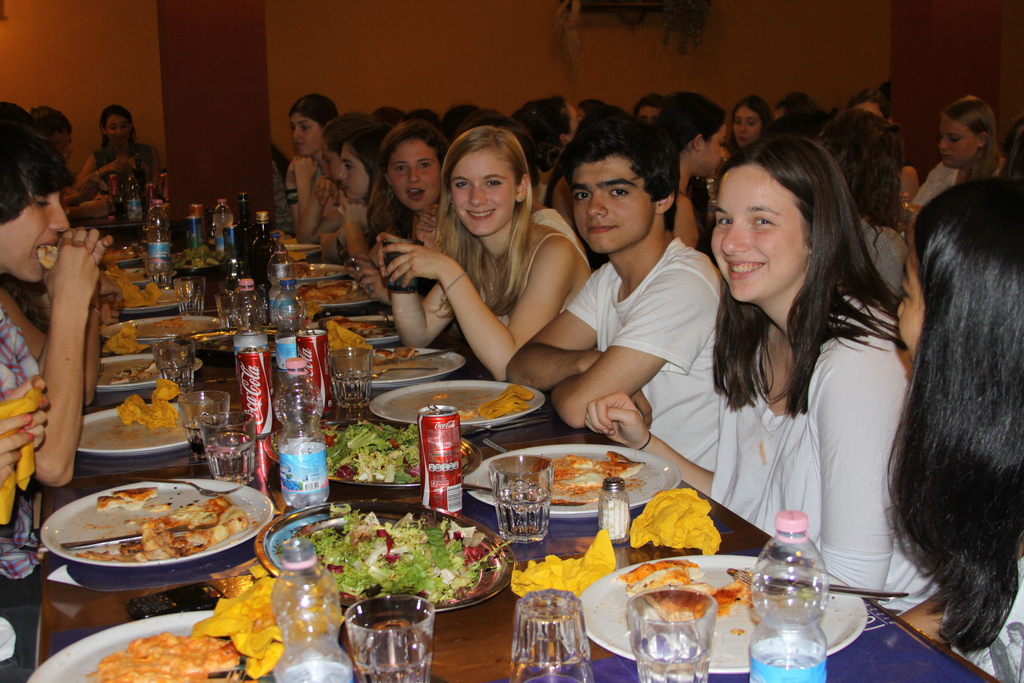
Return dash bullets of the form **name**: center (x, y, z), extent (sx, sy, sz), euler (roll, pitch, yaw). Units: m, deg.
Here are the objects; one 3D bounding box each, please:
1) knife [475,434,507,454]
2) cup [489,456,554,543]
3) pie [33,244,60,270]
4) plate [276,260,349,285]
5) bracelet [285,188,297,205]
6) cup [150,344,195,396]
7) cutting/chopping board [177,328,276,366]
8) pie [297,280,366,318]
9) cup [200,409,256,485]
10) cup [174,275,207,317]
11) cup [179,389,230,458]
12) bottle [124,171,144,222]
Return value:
- **knife**: center (-0.058, 0.305, 2.187), extent (0.033, 0.044, 0.171), euler (14, -9, -24)
- **cup**: center (0.020, 0.374, 1.835), extent (0.172, 0.197, 0.172), euler (-4, 8, 1)
- **pie**: center (-1.603, -0.290, 2.590), extent (0.084, 0.084, 0.020), euler (20, -8, -10)
- **plate**: center (-1.097, -0.369, 4.126), extent (0.272, 0.031, 0.276), euler (-10, 24, -20)
- **bracelet**: center (-1.895, -1.237, 6.430), extent (0.099, 0.104, 0.106), euler (-3, 28, -8)
- **cup**: center (-1.190, 0.083, 2.655), extent (0.151, 0.178, 0.153), euler (-2, 16, 0)
- **cutting/chopping board**: center (-1.221, 0.029, 3.091), extent (0.237, 0.033, 0.244), euler (0, 22, -3)
- **pie**: center (-0.941, -0.243, 3.949), extent (0.266, 0.039, 0.268), euler (-16, 34, -34)
- **cup**: center (-0.758, 0.287, 2.031), extent (0.170, 0.199, 0.173), euler (-3, -5, 0)
- **cup**: center (-1.645, -0.239, 3.847), extent (0.185, 0.217, 0.188), euler (0, 12, 0)
- **cup**: center (-0.912, 0.240, 2.214), extent (0.167, 0.194, 0.170), euler (1, 6, 0)
- **bottle**: center (-3.189, -1.209, 6.333), extent (0.122, 0.395, 0.387), euler (-6, 9, -25)
